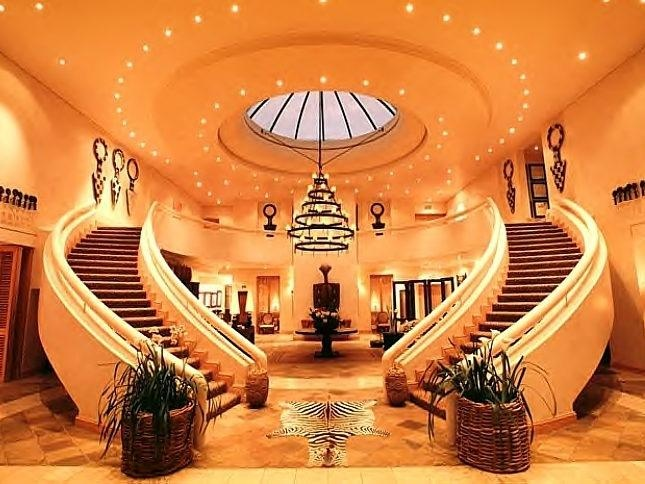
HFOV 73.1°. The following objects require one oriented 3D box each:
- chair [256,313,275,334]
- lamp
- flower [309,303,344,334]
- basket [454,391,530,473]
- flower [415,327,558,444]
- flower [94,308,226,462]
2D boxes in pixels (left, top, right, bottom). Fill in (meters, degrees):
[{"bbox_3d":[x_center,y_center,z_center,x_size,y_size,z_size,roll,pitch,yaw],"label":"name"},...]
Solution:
[{"bbox_3d":[-2.398,3.463,18.836,0.686,1.123,0.835,1,-19,-4],"label":"chair"},{"bbox_3d":[-0.009,-0.859,11.160,1.565,2.888,1.332,-1,0,3],"label":"lamp"},{"bbox_3d":[0.074,2.206,12.681,0.752,0.648,0.721,-1,-7,13],"label":"flower"},{"bbox_3d":[2.225,2.405,5.736,0.974,0.919,0.884,-7,-2,42],"label":"basket"},{"bbox_3d":[2.266,2.087,5.691,1.216,1.131,1.385,-2,-3,-8],"label":"flower"},{"bbox_3d":[-2.066,2.150,5.555,0.956,0.904,1.139,-5,-5,22],"label":"flower"}]
